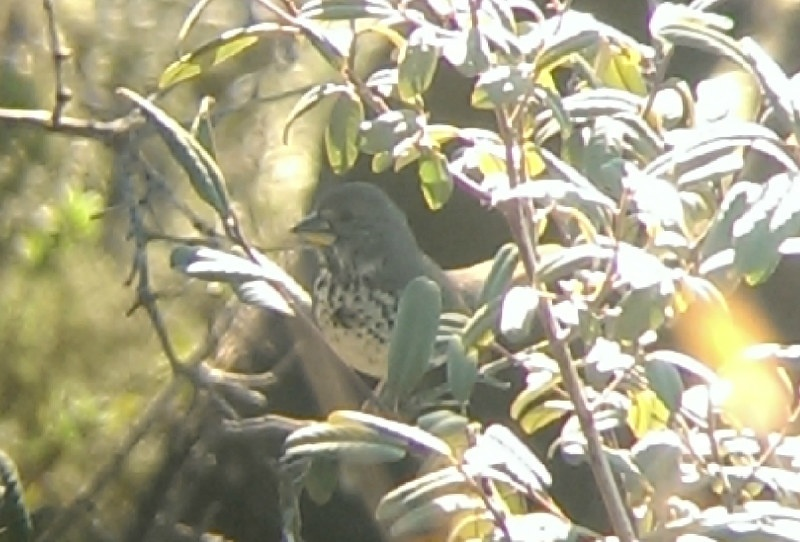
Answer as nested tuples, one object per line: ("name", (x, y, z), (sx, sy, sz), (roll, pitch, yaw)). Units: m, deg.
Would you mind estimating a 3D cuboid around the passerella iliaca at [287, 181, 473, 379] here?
("passerella iliaca", (-0.049, 0.022, 2.870), (0.355, 0.332, 0.140), (20, 6, -4))
